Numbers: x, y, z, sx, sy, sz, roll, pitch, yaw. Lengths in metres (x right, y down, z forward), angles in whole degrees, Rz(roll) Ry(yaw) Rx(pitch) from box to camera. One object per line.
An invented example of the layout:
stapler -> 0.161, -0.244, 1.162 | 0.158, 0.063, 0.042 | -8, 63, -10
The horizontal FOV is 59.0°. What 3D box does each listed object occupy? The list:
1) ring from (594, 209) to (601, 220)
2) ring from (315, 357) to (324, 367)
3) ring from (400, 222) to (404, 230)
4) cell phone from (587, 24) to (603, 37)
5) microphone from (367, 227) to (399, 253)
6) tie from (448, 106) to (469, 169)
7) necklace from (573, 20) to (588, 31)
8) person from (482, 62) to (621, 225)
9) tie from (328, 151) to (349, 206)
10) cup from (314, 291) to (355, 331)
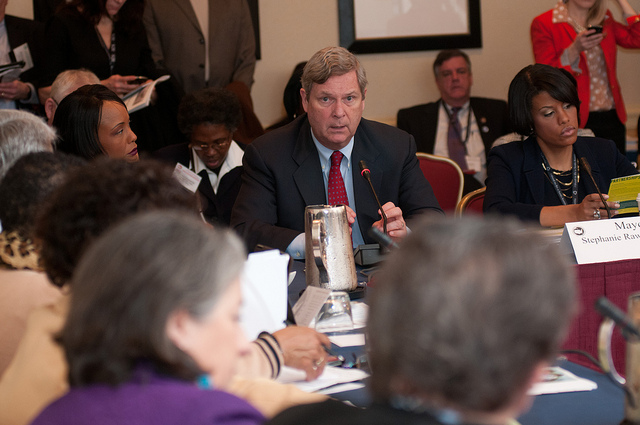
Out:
ring -> 1.138, 0.007, 2.323 | 0.012, 0.042, 0.030 | -2, -2, 13
ring -> -0.002, 0.371, 1.415 | 0.017, 0.006, 0.017 | -39, 12, 10
ring -> 0.324, 0.052, 2.234 | 0.005, 0.025, 0.027 | 0, 8, 41
cell phone -> 1.793, -1.185, 3.683 | 0.082, 0.084, 0.148 | -2, 7, 32
microphone -> 0.155, 0.075, 1.372 | 0.024, 0.103, 0.020 | -47, -14, -14
tie -> 1.131, -0.599, 4.730 | 0.060, 0.758, 0.193 | -19, 48, -6
necklace -> 1.823, -1.302, 3.968 | 0.100, 0.033, 0.080 | 34, 1, -8
person -> 1.081, -0.339, 2.718 | 0.576, 0.741, 0.590 | -2, 6, 29
tie -> 0.083, -0.171, 2.551 | 0.086, 0.348, 0.042 | -2, 41, -2
cup -> 0.043, 0.285, 1.671 | 0.120, 0.091, 0.099 | -3, 10, -1
